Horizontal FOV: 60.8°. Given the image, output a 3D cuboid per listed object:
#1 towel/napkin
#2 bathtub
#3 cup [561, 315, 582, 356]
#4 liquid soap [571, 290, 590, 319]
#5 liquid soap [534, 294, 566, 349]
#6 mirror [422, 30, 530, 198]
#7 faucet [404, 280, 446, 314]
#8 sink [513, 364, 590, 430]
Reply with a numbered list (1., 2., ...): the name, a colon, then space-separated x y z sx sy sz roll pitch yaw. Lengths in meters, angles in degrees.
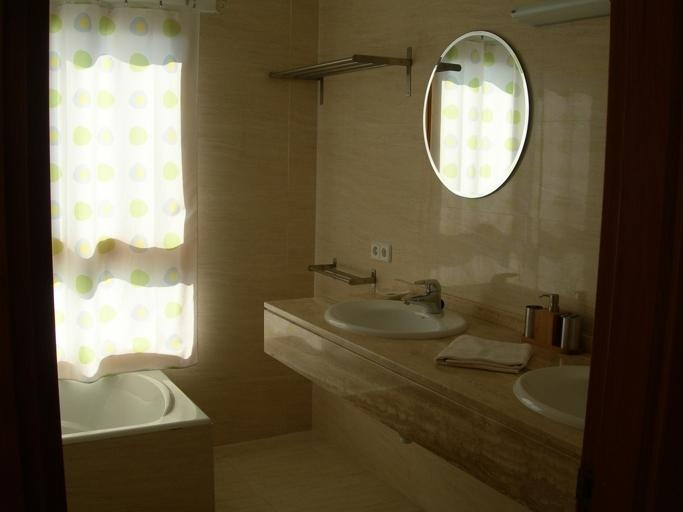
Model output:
1. towel/napkin: 0.479 0.319 1.927 0.272 0.043 0.267 2 10 26
2. bathtub: -1.279 0.875 3.267 0.805 0.214 0.839 -17 -16 6
3. cup: 0.768 0.261 1.946 0.067 0.124 0.046 0 8 14
4. liquid soap: 0.824 0.166 2.005 0.028 0.082 0.083 -3 8 -14
5. liquid soap: 0.733 0.234 2.041 0.103 0.192 0.108 6 4 -1
6. mirror: 0.562 -0.583 2.369 0.026 0.805 0.693 -3 6 -26
7. faucet: 0.357 0.165 2.491 0.179 0.158 0.110 -4 10 -24
8. sink: 0.591 0.389 1.649 0.185 0.102 0.474 1 10 24
